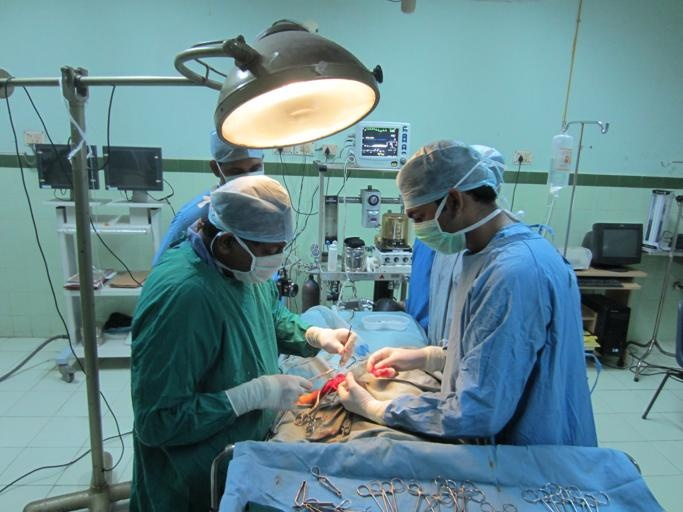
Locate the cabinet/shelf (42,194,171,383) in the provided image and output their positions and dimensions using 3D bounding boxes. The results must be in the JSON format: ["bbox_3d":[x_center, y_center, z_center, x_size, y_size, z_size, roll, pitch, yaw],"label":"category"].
[{"bbox_3d":[-1.898,0.202,5.041,0.834,1.433,0.765,0,8,-22],"label":"cabinet/shelf"}]

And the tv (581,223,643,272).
[{"bbox_3d":[2.323,-0.081,5.314,0.341,0.412,0.386,-1,5,2],"label":"tv"}]

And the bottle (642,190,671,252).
[{"bbox_3d":[2.701,-0.319,5.275,0.192,0.501,0.138,4,11,29],"label":"bottle"}]

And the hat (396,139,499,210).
[{"bbox_3d":[0.510,-0.411,2.980,0.389,0.234,0.307,-12,1,-5],"label":"hat"}]

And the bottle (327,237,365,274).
[{"bbox_3d":[0.050,-0.003,4.452,0.290,0.339,0.185,1,11,4],"label":"bottle"}]

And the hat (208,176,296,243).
[{"bbox_3d":[-0.420,-0.230,2.880,0.317,0.215,0.313,28,24,20],"label":"hat"}]

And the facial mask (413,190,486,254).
[{"bbox_3d":[0.528,-0.123,3.062,0.304,0.179,0.257,-34,2,20],"label":"facial mask"}]

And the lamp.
[{"bbox_3d":[-0.195,-0.651,2.476,0.597,0.311,0.490,-7,-22,-36],"label":"lamp"}]

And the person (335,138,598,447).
[{"bbox_3d":[0.666,0.189,2.927,1.084,1.464,0.483,-2,10,-6],"label":"person"}]

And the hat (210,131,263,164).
[{"bbox_3d":[-0.535,-0.546,3.085,0.254,0.181,0.276,1,-7,-18],"label":"hat"}]

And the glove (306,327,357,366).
[{"bbox_3d":[-0.074,0.440,3.356,0.300,0.231,0.202,12,0,-17],"label":"glove"}]

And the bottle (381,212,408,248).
[{"bbox_3d":[0.390,-0.195,4.610,0.153,0.264,0.274,0,11,-6],"label":"bottle"}]

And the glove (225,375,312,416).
[{"bbox_3d":[-0.369,0.655,2.980,0.417,0.153,0.150,-12,1,-23],"label":"glove"}]

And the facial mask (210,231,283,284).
[{"bbox_3d":[-0.449,0.012,2.920,0.260,0.192,0.238,30,7,-9],"label":"facial mask"}]

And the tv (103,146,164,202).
[{"bbox_3d":[-1.614,-0.655,4.747,0.431,0.491,0.174,1,8,-2],"label":"tv"}]
